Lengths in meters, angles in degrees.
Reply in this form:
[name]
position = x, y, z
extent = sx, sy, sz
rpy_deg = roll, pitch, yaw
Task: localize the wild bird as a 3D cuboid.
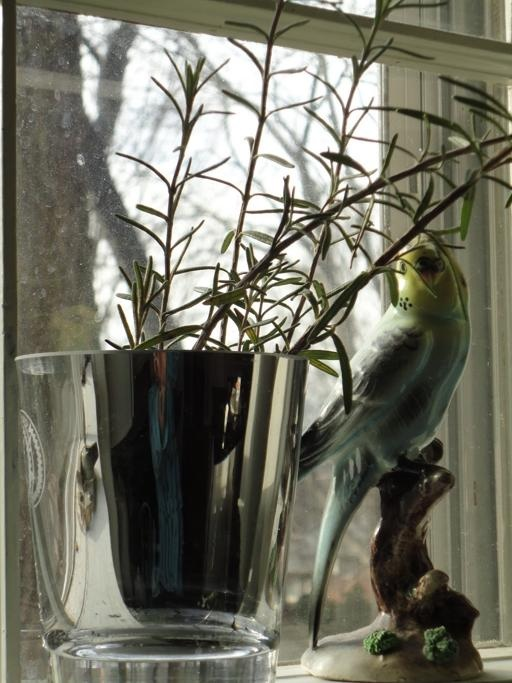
[wild bird]
position = 0.107, 0.082, 1.417
extent = 0.147, 0.324, 0.077
rpy_deg = -5, -15, 17
